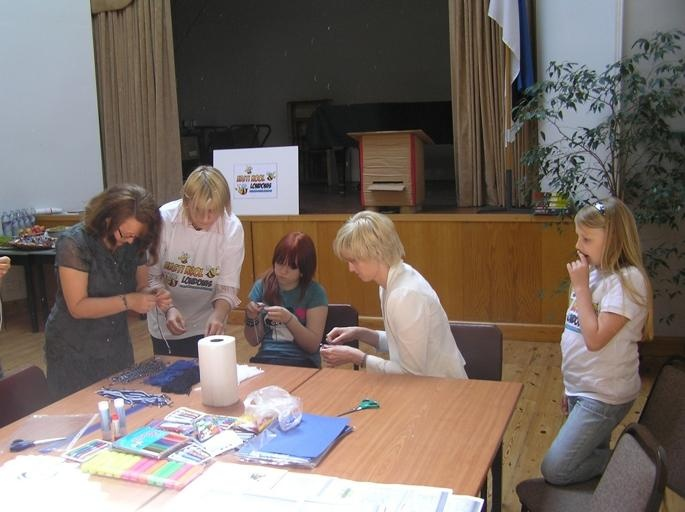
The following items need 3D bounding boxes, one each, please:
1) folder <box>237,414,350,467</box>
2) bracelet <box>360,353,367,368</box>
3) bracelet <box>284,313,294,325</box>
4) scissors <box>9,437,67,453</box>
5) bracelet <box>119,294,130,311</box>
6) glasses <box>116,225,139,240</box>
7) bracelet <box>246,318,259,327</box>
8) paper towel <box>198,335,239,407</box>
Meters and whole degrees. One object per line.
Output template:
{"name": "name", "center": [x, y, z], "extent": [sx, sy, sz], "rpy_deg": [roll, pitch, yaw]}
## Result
{"name": "folder", "center": [-0.153, 0.600, 1.664], "extent": [0.320, 0.037, 0.254], "rpy_deg": [-1, 9, 14]}
{"name": "bracelet", "center": [0.089, 0.457, 2.228], "extent": [0.016, 0.051, 0.040], "rpy_deg": [5, 11, 3]}
{"name": "bracelet", "center": [-0.260, 0.311, 2.530], "extent": [0.039, 0.033, 0.042], "rpy_deg": [-5, 21, -2]}
{"name": "scissors", "center": [-0.994, 0.603, 1.696], "extent": [0.177, 0.036, 0.057], "rpy_deg": [-1, 8, -17]}
{"name": "bracelet", "center": [-0.945, 0.192, 2.232], "extent": [0.012, 0.049, 0.048], "rpy_deg": [-16, 25, 42]}
{"name": "glasses", "center": [-0.938, -0.099, 2.242], "extent": [0.023, 0.073, 0.068], "rpy_deg": [-40, -23, 23]}
{"name": "bracelet", "center": [-0.466, 0.338, 2.661], "extent": [0.044, 0.028, 0.053], "rpy_deg": [1, 1, -4]}
{"name": "paper towel", "center": [-0.467, 0.417, 1.921], "extent": [0.143, 0.245, 0.144], "rpy_deg": [-17, -22, 36]}
